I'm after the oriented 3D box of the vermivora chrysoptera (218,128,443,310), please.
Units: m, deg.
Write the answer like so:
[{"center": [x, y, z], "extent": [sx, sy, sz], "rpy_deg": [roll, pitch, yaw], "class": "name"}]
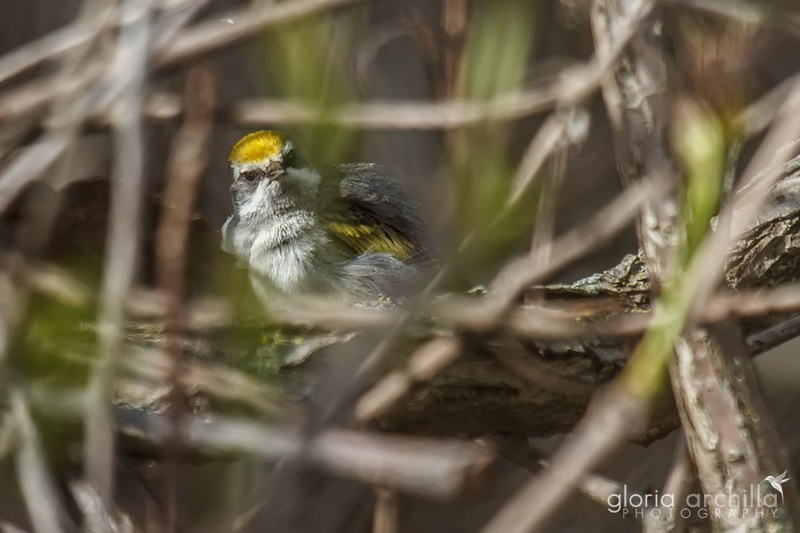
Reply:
[{"center": [-0.092, -0.074, 1.392], "extent": [0.263, 0.192, 0.206], "rpy_deg": [-2, 31, 1], "class": "vermivora chrysoptera"}]
